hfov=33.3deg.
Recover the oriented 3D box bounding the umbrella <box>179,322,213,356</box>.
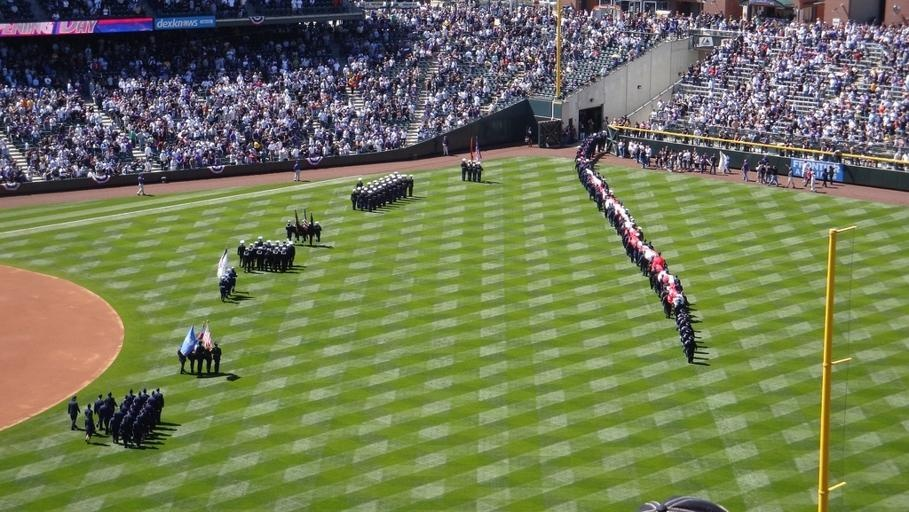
[{"bbox_3d":[-18.402,5.904,108.501,2.521,1.283,1.979,-1,55,-10],"label":"umbrella"}]
